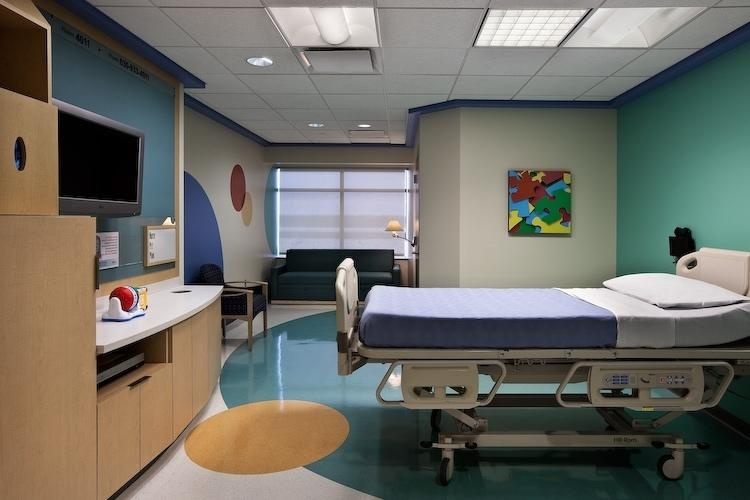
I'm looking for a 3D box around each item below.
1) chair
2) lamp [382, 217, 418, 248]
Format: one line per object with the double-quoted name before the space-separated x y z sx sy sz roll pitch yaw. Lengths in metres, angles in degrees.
"chair" -1.686 0.619 6.016 0.925 1.148 0.885 0 1 3
"lamp" 0.410 -0.288 8.177 0.580 0.506 0.350 1 1 3
